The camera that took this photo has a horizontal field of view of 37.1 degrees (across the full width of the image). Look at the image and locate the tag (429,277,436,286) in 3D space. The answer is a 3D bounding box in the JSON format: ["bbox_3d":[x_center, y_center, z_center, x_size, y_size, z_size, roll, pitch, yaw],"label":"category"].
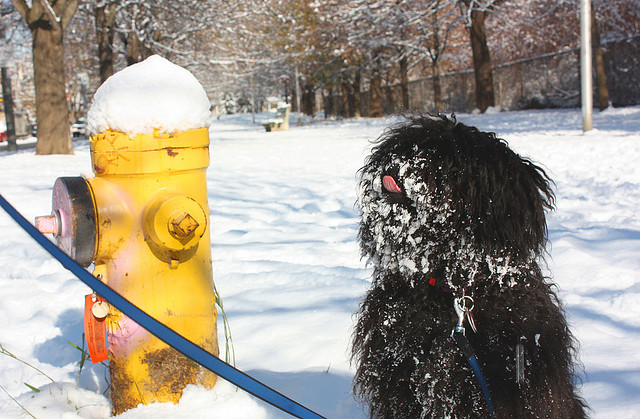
[{"bbox_3d":[2.238,1.415,19.057,0.155,0.157,0.039,13,3,1],"label":"tag"}]

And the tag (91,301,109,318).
[{"bbox_3d":[-4.425,1.995,19.078,0.297,0.311,0.068,-2,8,-12],"label":"tag"}]

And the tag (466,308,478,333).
[{"bbox_3d":[3.015,2.195,19.002,0.133,0.593,0.149,-13,-6,-12],"label":"tag"}]
